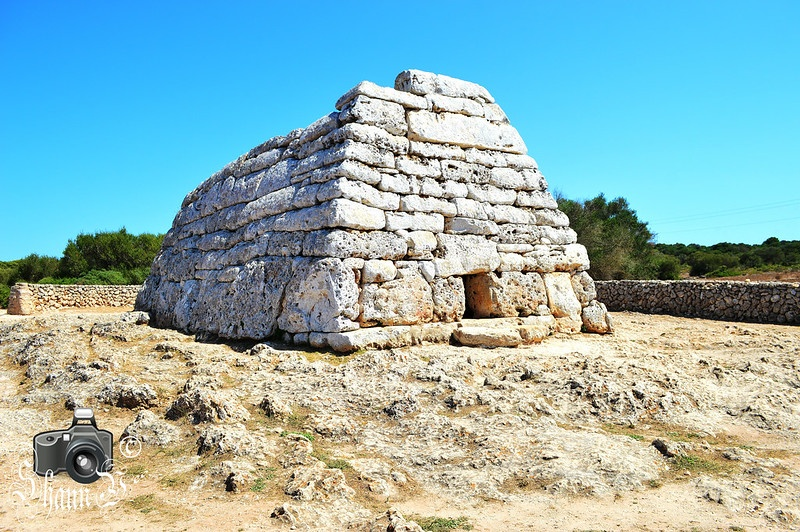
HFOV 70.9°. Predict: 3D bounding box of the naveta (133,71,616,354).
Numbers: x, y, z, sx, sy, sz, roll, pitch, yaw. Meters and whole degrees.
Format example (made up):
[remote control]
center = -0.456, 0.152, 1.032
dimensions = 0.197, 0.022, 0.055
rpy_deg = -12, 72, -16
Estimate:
[naveta]
center = -1.610, -0.798, 11.387
dimensions = 4.785, 3.007, 6.737
rpy_deg = 2, -5, -36
